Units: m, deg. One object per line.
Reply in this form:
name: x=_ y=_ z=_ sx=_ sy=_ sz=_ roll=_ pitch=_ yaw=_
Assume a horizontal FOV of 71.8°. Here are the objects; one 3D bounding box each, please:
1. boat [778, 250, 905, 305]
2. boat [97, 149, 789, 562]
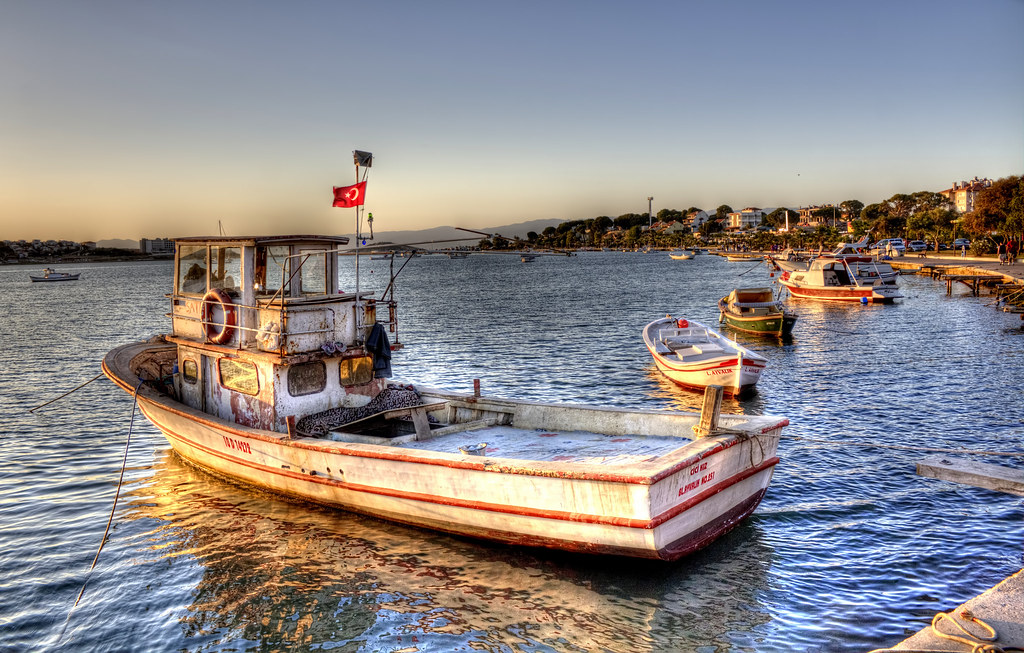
boat: x=26.560 y=-3.796 z=56.588 sx=8.050 sy=3.793 sz=3.918 roll=6 pitch=13 yaw=24
boat: x=-3.086 y=0.953 z=18.240 sx=18.742 sy=6.732 sz=4.967 roll=5 pitch=14 yaw=23
